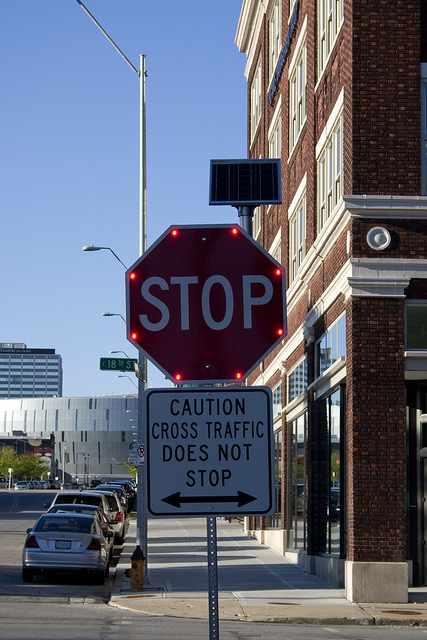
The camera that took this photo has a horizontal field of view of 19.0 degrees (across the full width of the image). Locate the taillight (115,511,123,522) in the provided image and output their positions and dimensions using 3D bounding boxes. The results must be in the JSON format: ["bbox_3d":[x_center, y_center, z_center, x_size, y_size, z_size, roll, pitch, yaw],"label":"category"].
[{"bbox_3d":[-2.385,5.072,32.802,0.164,0.215,0.337,-1,-4,3],"label":"taillight"}]

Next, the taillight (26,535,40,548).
[{"bbox_3d":[-3.023,3.690,21.220,0.116,0.195,0.268,9,-15,-41],"label":"taillight"}]

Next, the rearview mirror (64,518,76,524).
[{"bbox_3d":[-2.468,3.449,21.862,0.235,0.099,0.126,8,-14,-30],"label":"rearview mirror"}]

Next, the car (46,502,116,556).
[{"bbox_3d":[-2.681,4.074,25.691,0.768,1.091,2.080,0,-2,0],"label":"car"}]

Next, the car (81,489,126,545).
[{"bbox_3d":[-2.768,5.075,32.305,0.868,1.271,2.358,0,-1,-1],"label":"car"}]

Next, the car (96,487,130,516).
[{"bbox_3d":[-3.453,6.258,45.462,0.761,1.039,1.912,1,0,1],"label":"car"}]

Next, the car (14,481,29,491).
[{"bbox_3d":[-19.314,16.625,128.222,1.140,1.093,3.091,-1,-13,4],"label":"car"}]

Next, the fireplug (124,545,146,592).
[{"bbox_3d":[-1.264,4.031,20.743,0.284,0.853,0.305,-1,12,-23],"label":"fireplug"}]

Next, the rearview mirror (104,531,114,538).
[{"bbox_3d":[-1.948,3.973,23.633,0.110,0.071,0.149,-12,-16,39],"label":"rearview mirror"}]

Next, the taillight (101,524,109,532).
[{"bbox_3d":[-2.146,4.048,24.890,0.199,0.152,0.342,0,-3,-3],"label":"taillight"}]

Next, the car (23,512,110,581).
[{"bbox_3d":[-2.520,3.802,21.601,1.384,1.058,0.882,3,-11,-12],"label":"car"}]
